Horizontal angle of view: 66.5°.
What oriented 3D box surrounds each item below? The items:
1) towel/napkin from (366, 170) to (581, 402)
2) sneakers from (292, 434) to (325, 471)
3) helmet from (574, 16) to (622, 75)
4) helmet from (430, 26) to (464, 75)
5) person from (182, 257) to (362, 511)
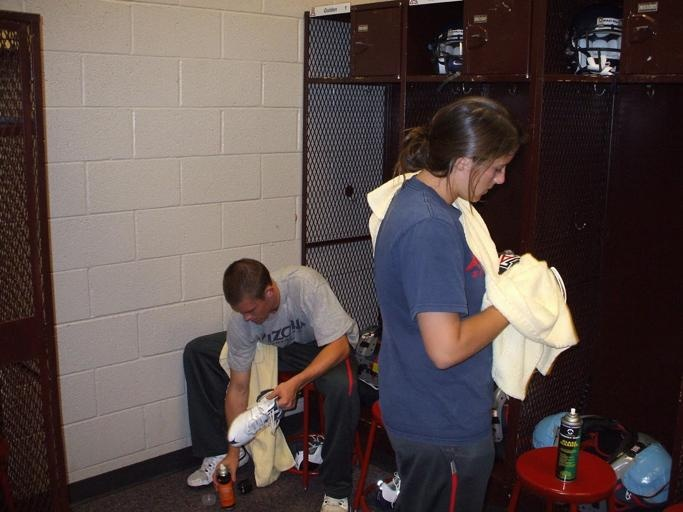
[{"bbox_3d":[0.442,-0.009,1.646,0.548,0.773,0.332,-12,2,7],"label":"towel/napkin"},{"bbox_3d":[-0.180,1.166,3.088,0.102,0.146,0.326,-4,-14,22],"label":"sneakers"},{"bbox_3d":[1.110,-0.909,2.301,0.179,0.238,0.233,3,2,12],"label":"helmet"},{"bbox_3d":[0.522,-1.008,2.527,0.165,0.228,0.224,5,24,0],"label":"helmet"},{"bbox_3d":[-0.398,0.646,2.796,0.981,1.376,0.646,0,15,-1],"label":"person"}]
